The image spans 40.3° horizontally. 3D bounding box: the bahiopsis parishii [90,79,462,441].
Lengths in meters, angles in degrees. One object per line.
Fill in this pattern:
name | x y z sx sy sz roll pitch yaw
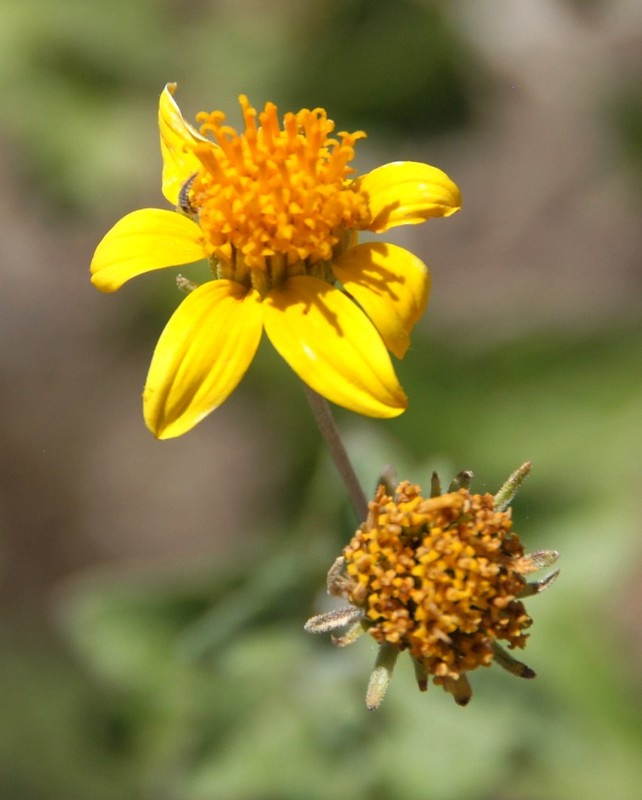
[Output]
bahiopsis parishii | -0.112 -0.191 1.865 0.716 0.705 0.366 43 -6 8
